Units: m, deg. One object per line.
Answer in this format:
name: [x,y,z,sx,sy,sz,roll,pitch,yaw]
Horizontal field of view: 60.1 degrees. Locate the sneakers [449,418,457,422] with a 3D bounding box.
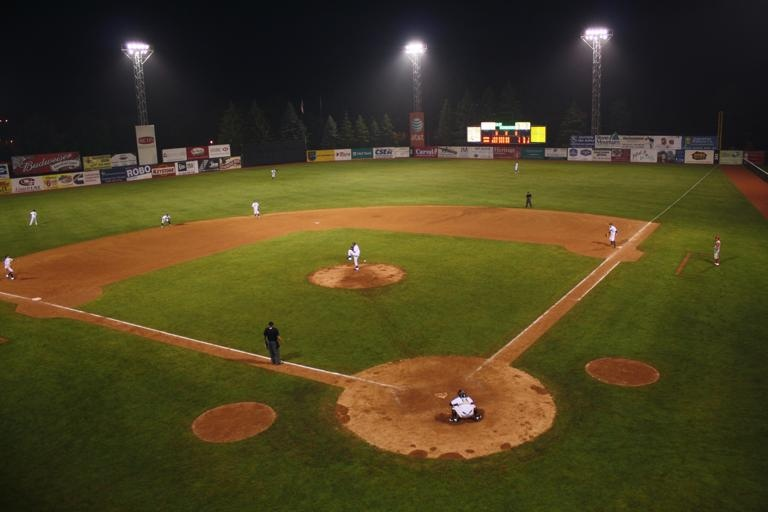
sneakers: [2.795,6.675,27.089,0.338,0.125,0.128,10,9,38]

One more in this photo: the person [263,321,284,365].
person: [-5.121,3.934,30.683,0.611,2.078,0.864,-8,18,-11]

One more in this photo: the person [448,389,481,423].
person: [3.315,6.109,27.272,1.322,1.183,0.936,-3,17,5]

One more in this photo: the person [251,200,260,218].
person: [-10.764,-4.042,56.177,0.525,1.356,1.479,-9,18,-15]
